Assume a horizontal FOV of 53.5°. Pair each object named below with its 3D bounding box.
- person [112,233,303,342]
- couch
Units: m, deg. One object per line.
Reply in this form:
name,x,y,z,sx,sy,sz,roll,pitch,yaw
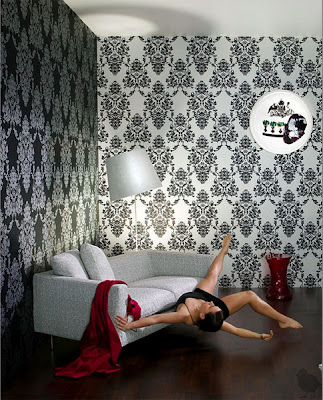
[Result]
person,0.395,0.498,2.261,0.656,0.355,0.806,15,13,26
couch,-0.189,0.725,2.691,0.982,0.741,1.478,-4,-6,27
